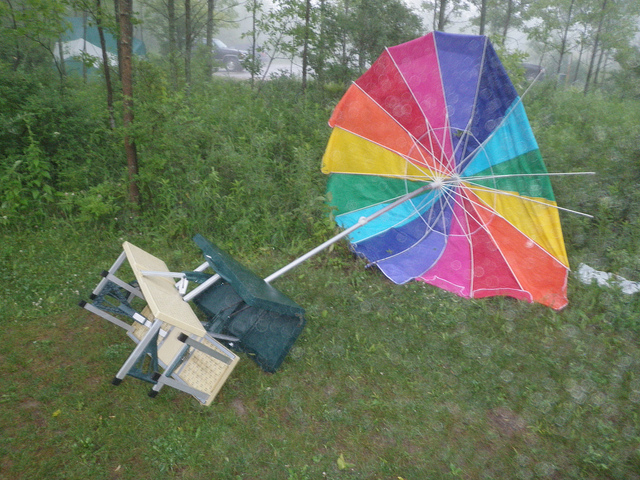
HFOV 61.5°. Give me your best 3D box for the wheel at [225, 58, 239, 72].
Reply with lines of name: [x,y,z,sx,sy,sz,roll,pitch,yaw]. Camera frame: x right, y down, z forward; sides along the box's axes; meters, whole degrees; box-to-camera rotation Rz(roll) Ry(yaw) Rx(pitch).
wheel: [-4.026,-7.947,24.490,0.408,0.629,0.731,16,22,22]

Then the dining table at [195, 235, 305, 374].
dining table: [-0.965,1.166,8.120,1.370,1.311,1.364,-7,-18,-31]
